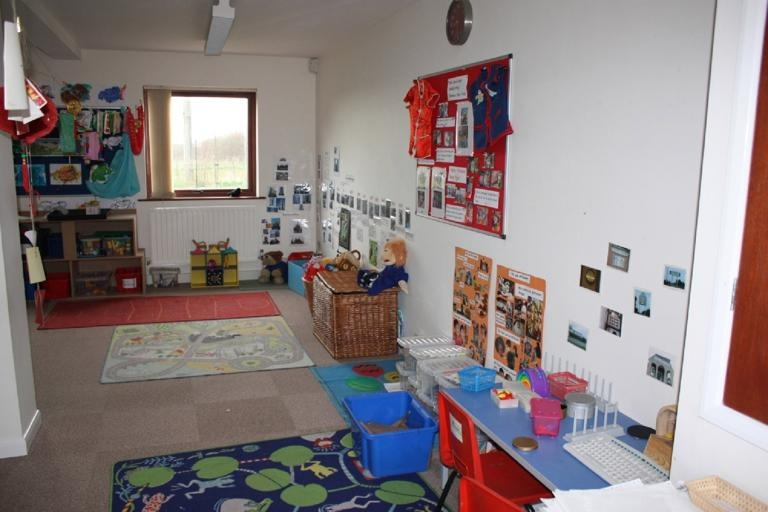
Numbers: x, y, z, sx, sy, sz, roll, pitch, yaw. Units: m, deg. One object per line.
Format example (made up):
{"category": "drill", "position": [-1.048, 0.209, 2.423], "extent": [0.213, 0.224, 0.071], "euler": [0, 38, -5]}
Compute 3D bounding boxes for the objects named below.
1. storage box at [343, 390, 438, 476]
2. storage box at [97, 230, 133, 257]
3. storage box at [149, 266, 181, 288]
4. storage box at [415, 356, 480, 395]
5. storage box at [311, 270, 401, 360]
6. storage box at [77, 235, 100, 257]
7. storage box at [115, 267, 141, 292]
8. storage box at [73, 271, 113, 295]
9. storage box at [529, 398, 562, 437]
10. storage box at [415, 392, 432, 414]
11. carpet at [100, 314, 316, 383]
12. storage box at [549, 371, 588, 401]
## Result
{"category": "storage box", "position": [0.020, 1.216, 3.558], "extent": [0.626, 0.323, 0.737], "euler": [-3, 7, -33]}
{"category": "storage box", "position": [-3.367, -0.163, 6.561], "extent": [0.326, 0.211, 0.332], "euler": [-1, 6, -9]}
{"category": "storage box", "position": [-2.978, 0.289, 7.061], "extent": [0.390, 0.287, 0.275], "euler": [-2, 11, -25]}
{"category": "storage box", "position": [0.416, 0.830, 3.532], "extent": [0.354, 0.189, 0.239], "euler": [-5, 12, -25]}
{"category": "storage box", "position": [-0.212, 0.591, 5.441], "extent": [0.609, 0.654, 1.034], "euler": [-3, 5, -4]}
{"category": "storage box", "position": [-3.634, -0.116, 6.413], "extent": [0.232, 0.241, 0.235], "euler": [-1, 6, -17]}
{"category": "storage box", "position": [-3.226, 0.312, 6.549], "extent": [0.331, 0.283, 0.267], "euler": [3, -1, -31]}
{"category": "storage box", "position": [-3.635, 0.356, 6.446], "extent": [0.290, 0.185, 0.294], "euler": [-1, 3, -19]}
{"category": "storage box", "position": [0.801, 0.802, 2.577], "extent": [0.125, 0.109, 0.167], "euler": [0, 10, 1]}
{"category": "storage box", "position": [0.289, 1.033, 3.638], "extent": [0.032, 0.140, 0.082], "euler": [-29, -1, 36]}
{"category": "carpet", "position": [-1.779, 0.888, 5.192], "extent": [1.908, 0.016, 1.382], "euler": [-2, 15, -13]}
{"category": "storage box", "position": [1.010, 0.709, 2.866], "extent": [0.123, 0.079, 0.180], "euler": [-1, 5, -10]}
